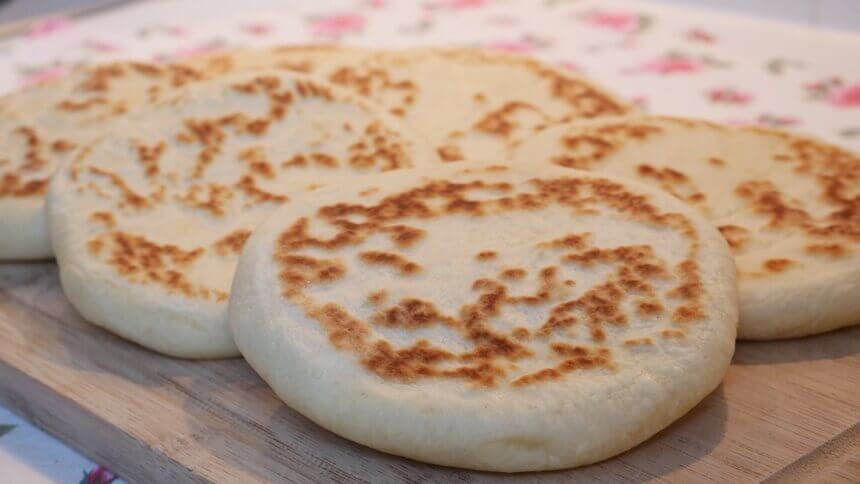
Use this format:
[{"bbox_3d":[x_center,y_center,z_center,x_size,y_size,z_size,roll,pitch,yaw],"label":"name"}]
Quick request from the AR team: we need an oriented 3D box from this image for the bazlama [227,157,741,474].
[{"bbox_3d":[0.092,0.103,1.481,0.818,0.202,0.604,10,45,14],"label":"bazlama"}]
